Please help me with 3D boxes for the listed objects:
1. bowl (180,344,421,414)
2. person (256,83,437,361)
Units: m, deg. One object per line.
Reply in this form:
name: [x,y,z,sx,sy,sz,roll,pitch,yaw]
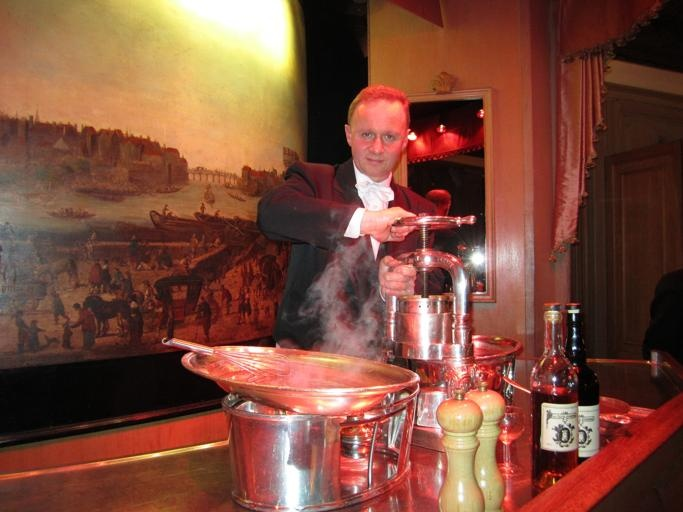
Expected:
bowl: [-0.099,0.309,1.407,0.339,0.064,0.278,11,0,13]
person: [-0.016,-0.143,2.193,0.647,1.068,0.827,1,1,8]
